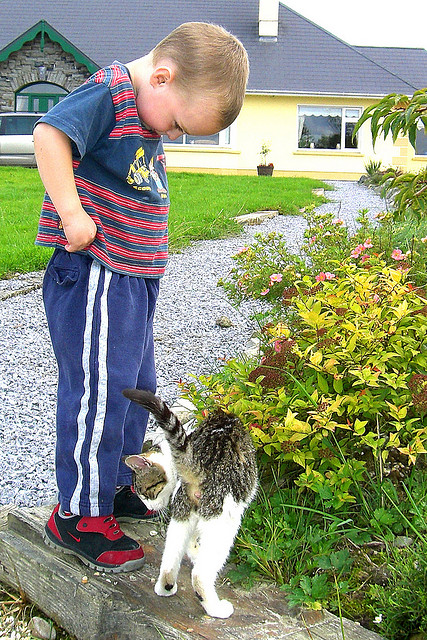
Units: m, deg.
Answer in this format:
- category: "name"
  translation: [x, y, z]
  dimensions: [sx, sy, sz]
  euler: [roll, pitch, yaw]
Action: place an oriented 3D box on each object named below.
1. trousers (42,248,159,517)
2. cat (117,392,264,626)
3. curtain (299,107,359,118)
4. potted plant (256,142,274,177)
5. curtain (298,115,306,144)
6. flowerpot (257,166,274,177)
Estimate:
- category: "trousers"
  translation: [-0.330, 0.181, 1.846]
  dimensions: [0.338, 0.786, 0.280]
  euler: [-4, 15, -10]
- category: "cat"
  translation: [-0.034, 0.506, 1.922]
  dimensions: [0.353, 0.613, 1.122]
  euler: [-3, -8, 11]
- category: "curtain"
  translation: [3.351, -5.996, 17.576]
  dimensions: [1.770, 0.266, 0.189]
  euler: [-3, 14, -8]
- category: "potted plant"
  translation: [1.432, -4.449, 16.828]
  dimensions: [0.502, 0.942, 1.248]
  euler: [0, 13, 5]
- category: "curtain"
  translation: [2.559, -5.548, 17.620]
  dimensions: [0.238, 0.729, 0.088]
  euler: [-8, 16, -26]
- category: "flowerpot"
  translation: [1.400, -4.011, 16.532]
  dimensions: [0.324, 0.184, 0.299]
  euler: [-1, 4, -10]
